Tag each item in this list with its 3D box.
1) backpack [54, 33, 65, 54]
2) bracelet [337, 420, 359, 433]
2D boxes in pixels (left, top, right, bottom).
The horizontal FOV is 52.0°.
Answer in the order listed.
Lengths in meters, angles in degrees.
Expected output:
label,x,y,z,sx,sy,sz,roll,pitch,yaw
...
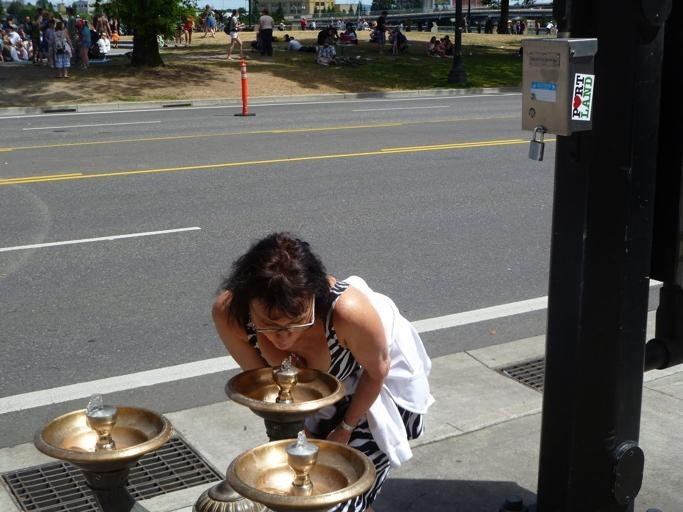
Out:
label,x,y,z,sx,sy,sz,roll,pitch,yaw
backpack,-9.375,-7.119,23.609,0.423,0.817,0.822,-10,19,-20
bracelet,0.028,0.726,3.004,0.057,0.025,0.047,3,12,-39
